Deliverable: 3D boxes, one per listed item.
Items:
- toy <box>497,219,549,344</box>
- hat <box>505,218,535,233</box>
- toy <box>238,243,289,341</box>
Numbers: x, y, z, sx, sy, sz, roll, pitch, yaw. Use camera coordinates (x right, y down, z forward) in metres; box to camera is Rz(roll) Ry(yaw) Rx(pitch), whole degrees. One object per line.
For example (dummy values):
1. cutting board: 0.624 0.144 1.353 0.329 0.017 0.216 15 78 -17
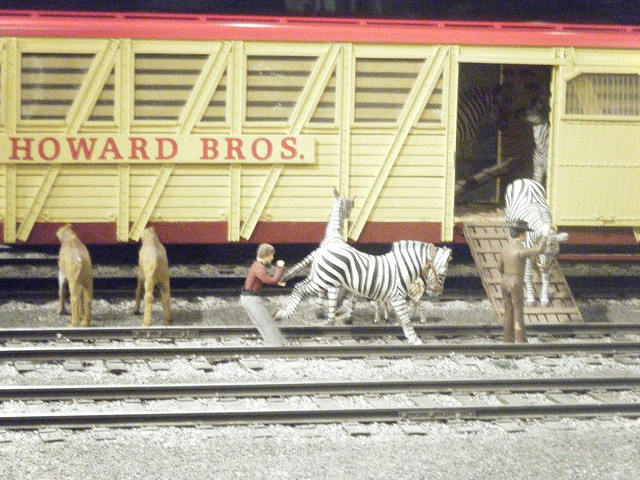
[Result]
1. toy: 3.148 0.671 33.141 0.699 1.878 0.408 0 3 9
2. hat: 3.138 -0.204 33.204 0.349 0.167 0.539 0 3 4
3. toy: -0.899 0.860 32.824 0.670 1.549 0.780 -1 3 -2
